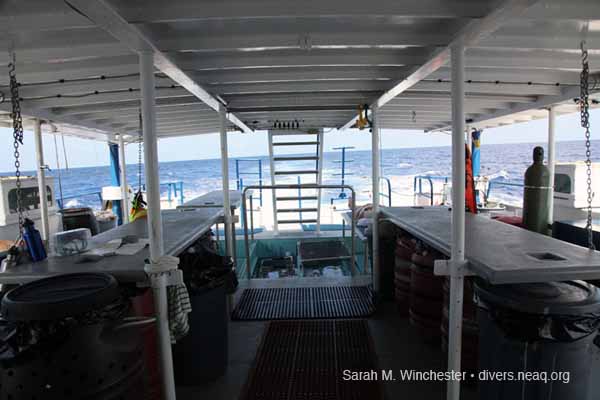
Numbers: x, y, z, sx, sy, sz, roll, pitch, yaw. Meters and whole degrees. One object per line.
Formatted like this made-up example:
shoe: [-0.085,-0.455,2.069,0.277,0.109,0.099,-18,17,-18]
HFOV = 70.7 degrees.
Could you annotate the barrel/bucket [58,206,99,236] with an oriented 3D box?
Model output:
barrel/bucket: [-4.305,0.435,8.250,0.645,0.533,0.755,-6,6,-28]

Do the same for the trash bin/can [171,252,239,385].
trash bin/can: [-1.114,1.389,4.541,0.724,0.872,0.865,-4,-4,8]
